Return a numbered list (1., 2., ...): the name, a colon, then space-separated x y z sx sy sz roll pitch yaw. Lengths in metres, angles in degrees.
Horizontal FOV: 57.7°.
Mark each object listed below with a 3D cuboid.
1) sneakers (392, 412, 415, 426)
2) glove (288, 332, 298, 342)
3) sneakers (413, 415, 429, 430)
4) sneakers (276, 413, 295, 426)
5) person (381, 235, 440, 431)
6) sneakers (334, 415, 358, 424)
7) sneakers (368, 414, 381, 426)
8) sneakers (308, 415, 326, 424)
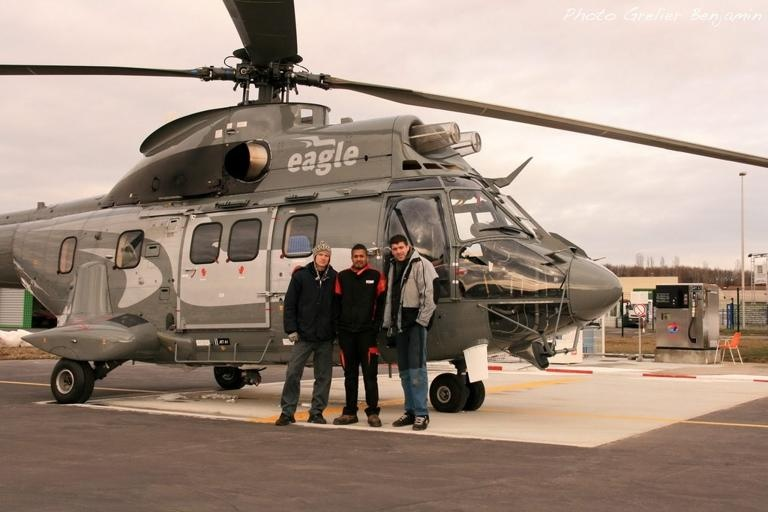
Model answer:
1. sneakers: 0.305 2.493 10.560 0.369 0.190 0.163 0 -9 10
2. glove: -1.419 1.276 10.850 0.171 0.095 0.159 1 -4 -4
3. sneakers: 0.547 2.499 10.403 0.228 0.194 0.309 1 -8 1
4. sneakers: -1.505 2.523 10.739 0.342 0.173 0.221 5 -9 -25
5. person: 0.389 1.153 10.686 0.806 2.938 0.607 2 -11 -1
6. sneakers: -0.593 2.544 10.801 0.386 0.139 0.193 1 -8 -4
7. sneakers: -0.141 2.524 10.670 0.226 0.183 0.327 1 -8 -1
8. sneakers: -1.044 2.552 10.889 0.292 0.139 0.189 2 -8 -6
